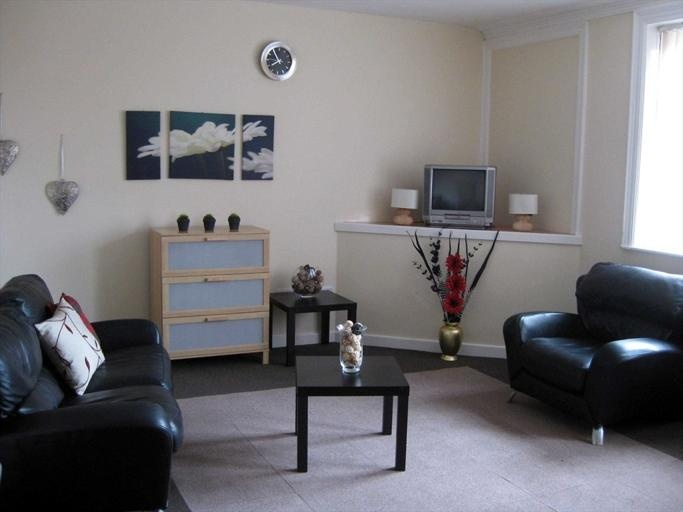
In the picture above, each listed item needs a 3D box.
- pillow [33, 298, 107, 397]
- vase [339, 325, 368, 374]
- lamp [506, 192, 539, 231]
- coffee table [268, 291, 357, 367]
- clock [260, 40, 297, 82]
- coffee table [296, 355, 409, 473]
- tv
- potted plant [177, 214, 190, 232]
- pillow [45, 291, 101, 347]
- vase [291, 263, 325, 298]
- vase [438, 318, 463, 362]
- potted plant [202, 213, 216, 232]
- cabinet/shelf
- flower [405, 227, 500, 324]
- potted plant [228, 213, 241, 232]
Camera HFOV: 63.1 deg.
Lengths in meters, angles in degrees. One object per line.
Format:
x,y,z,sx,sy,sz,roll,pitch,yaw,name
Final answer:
-1.743,0.545,3.568,0.376,0.362,0.859,18,6,-22,pillow
0.051,0.633,3.738,0.224,0.303,0.223,4,-11,-22,vase
1.795,-0.442,5.531,0.340,0.430,0.348,0,4,-8,lamp
-0.339,0.685,5.478,0.663,0.573,0.668,-8,8,-22,coffee table
-0.625,-1.883,5.458,0.341,0.347,0.341,-39,17,-3,clock
0.048,1.028,3.718,0.705,0.544,0.615,0,12,-5,coffee table
1.231,-0.673,5.789,0.732,0.637,0.411,5,25,16,tv
-1.412,-0.290,4.941,0.088,0.145,0.192,-3,12,-19,potted plant
-1.873,0.441,3.826,0.109,0.395,0.368,-20,20,2,pillow
-0.322,0.240,5.458,0.289,0.289,0.296,1,2,-5,vase
1.072,0.828,5.464,0.251,0.380,0.244,-1,8,-14,vase
-1.182,-0.299,4.968,0.143,0.187,0.147,1,1,-3,potted plant
-1.176,0.335,4.924,1.157,1.484,0.654,-2,5,-21,cabinet/shelf
1.065,0.193,5.431,0.868,0.872,0.375,4,12,16,flower
-0.976,-0.310,5.088,0.141,0.184,0.145,2,3,-2,potted plant
